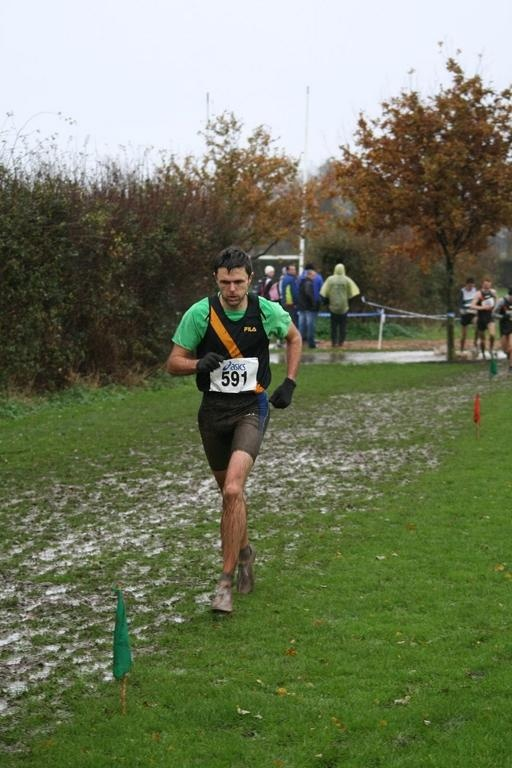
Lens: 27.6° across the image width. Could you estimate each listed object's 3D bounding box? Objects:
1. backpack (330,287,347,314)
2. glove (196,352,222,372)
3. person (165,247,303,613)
[{"bbox_3d":[1.826,-1.852,23.002,0.562,0.720,0.417,0,7,-3],"label":"backpack"},{"bbox_3d":[-0.268,-0.110,5.704,0.156,0.107,0.127,3,2,21],"label":"glove"},{"bbox_3d":[-0.134,0.246,5.990,0.664,2.003,0.788,3,2,15],"label":"person"}]
